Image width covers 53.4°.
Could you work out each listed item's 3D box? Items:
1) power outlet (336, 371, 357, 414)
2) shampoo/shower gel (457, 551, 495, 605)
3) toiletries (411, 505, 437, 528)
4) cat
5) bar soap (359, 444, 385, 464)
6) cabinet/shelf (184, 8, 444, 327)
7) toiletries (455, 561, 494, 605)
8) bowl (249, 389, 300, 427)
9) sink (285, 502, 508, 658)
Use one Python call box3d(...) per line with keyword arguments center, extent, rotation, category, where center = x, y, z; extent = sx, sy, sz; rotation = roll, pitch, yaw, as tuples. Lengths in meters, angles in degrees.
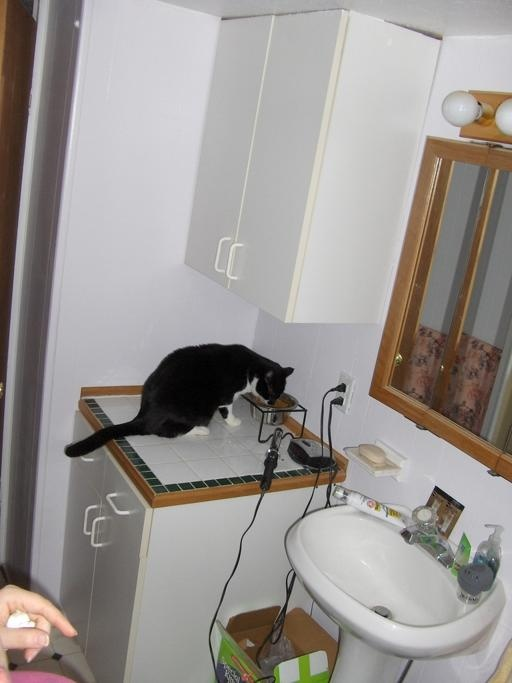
box3d(center=(0.282, 0.158, 1.571), extent=(0.014, 0.153, 0.089), rotation=(-5, 21, -26), category="power outlet")
box3d(center=(0.443, 0.467, 1.037), extent=(0.057, 0.086, 0.085), rotation=(9, 15, 20), category="shampoo/shower gel")
box3d(center=(0.394, 0.408, 1.184), extent=(0.044, 0.045, 0.044), rotation=(-32, 30, -18), category="toiletries")
box3d(center=(-0.219, 0.150, 1.735), extent=(0.629, 0.417, 0.345), rotation=(0, 19, -34), category="cat")
box3d(center=(0.317, 0.305, 1.376), extent=(0.033, 0.017, 0.068), rotation=(-4, 16, -6), category="bar soap")
box3d(center=(0.175, -0.391, 1.451), extent=(0.376, 0.886, 0.696), rotation=(-12, 26, -26), category="cabinet/shelf")
box3d(center=(0.428, 0.467, 1.022), extent=(0.083, 0.087, 0.071), rotation=(2, -5, 13), category="toiletries")
box3d(center=(0.057, 0.233, 1.808), extent=(0.163, 0.113, 0.162), rotation=(3, 19, -1), category="bowl")
box3d(center=(0.280, 0.527, 1.125), extent=(0.389, 0.212, 0.370), rotation=(6, 13, -25), category="sink")
